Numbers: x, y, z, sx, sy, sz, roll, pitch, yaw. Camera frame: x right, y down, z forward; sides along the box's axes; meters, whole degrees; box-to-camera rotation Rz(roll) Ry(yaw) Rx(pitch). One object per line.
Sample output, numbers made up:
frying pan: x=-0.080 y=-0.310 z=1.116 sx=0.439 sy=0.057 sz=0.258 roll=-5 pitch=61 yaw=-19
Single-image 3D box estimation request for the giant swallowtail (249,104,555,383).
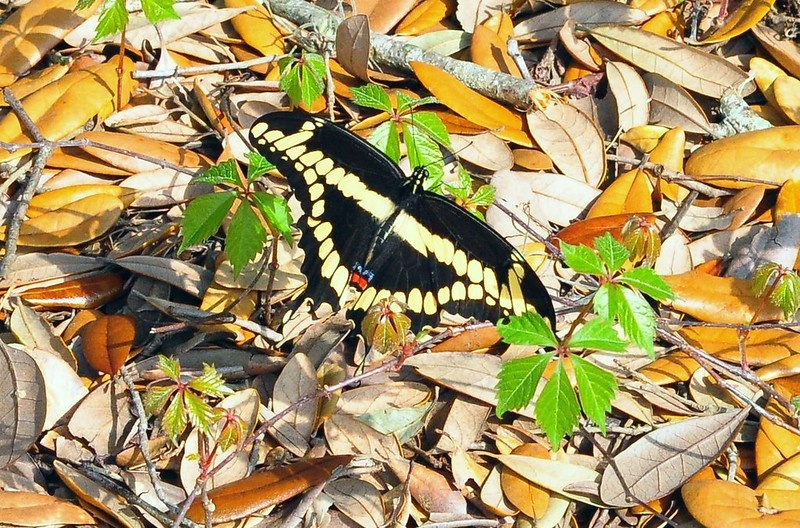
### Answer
giant swallowtail: x=-0.238 y=0.042 z=4.916 sx=1.111 sy=0.585 sz=0.717 roll=22 pitch=-66 yaw=1
